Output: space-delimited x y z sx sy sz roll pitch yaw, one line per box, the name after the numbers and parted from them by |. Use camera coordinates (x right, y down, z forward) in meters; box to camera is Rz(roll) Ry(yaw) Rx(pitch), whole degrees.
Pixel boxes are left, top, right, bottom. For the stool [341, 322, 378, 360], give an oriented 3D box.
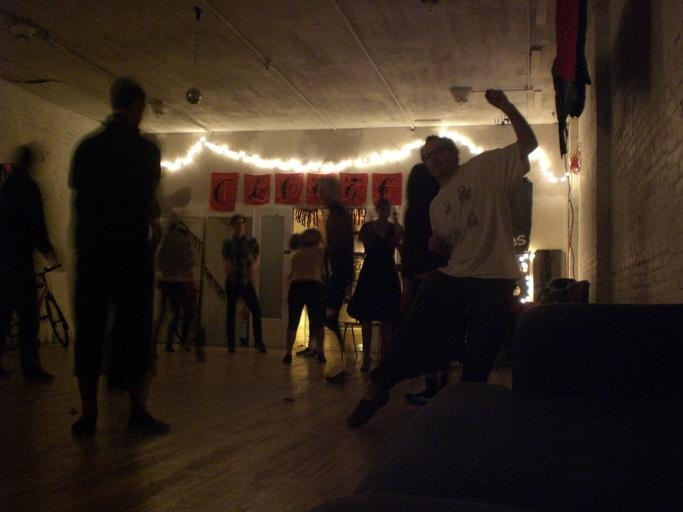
0.234 1.102 7.217 0.612 0.581 0.466 -1 -20 3 | stool

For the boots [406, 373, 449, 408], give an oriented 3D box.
0.559 0.862 3.655 0.288 0.206 0.106 -1 -5 15 | boots
